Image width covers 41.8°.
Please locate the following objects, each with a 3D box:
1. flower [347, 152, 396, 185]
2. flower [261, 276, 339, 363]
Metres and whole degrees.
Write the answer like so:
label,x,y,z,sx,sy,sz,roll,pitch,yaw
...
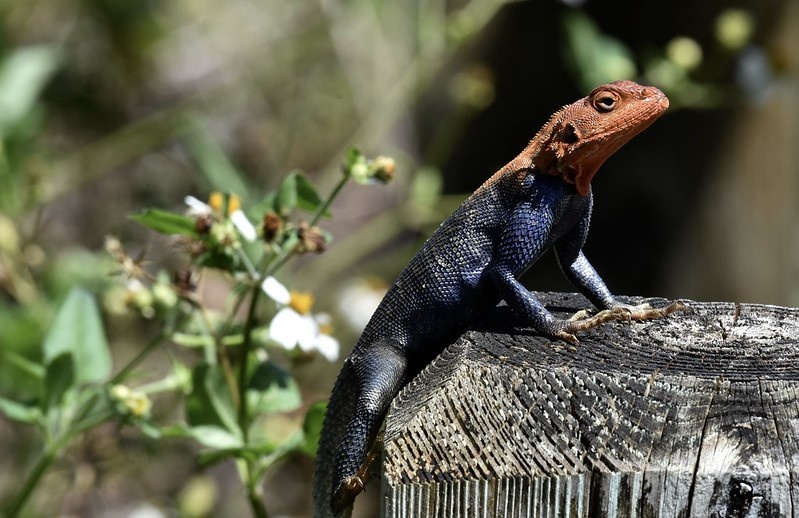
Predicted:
label,x,y,z,sx,sy,sz,roll,pitch,yaw
flower,-0.089,-0.293,3.280,0.181,0.127,0.083,9,72,0
flower,-0.347,0.204,3.466,0.111,0.265,0.259,-37,35,17
